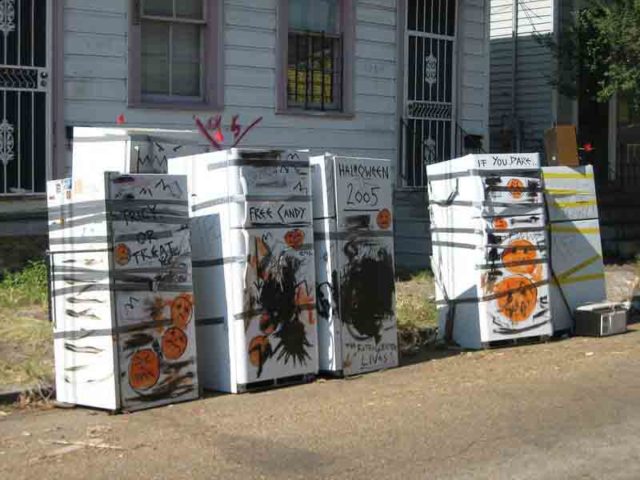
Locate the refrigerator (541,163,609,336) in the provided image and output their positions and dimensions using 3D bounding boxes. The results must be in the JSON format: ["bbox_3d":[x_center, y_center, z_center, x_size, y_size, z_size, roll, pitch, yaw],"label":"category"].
[{"bbox_3d":[3.593,-0.045,10.179,0.830,2.604,0.780,6,8,31],"label":"refrigerator"}]

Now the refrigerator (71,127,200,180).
[{"bbox_3d":[-2.268,-1.018,8.193,0.841,0.611,0.860,5,7,45],"label":"refrigerator"}]

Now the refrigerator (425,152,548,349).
[{"bbox_3d":[2.261,0.074,9.955,1.465,2.585,1.377,-1,7,-5],"label":"refrigerator"}]

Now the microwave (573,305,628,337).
[{"bbox_3d":[3.858,1.061,10.131,0.713,0.461,0.630,1,5,-20],"label":"microwave"}]
